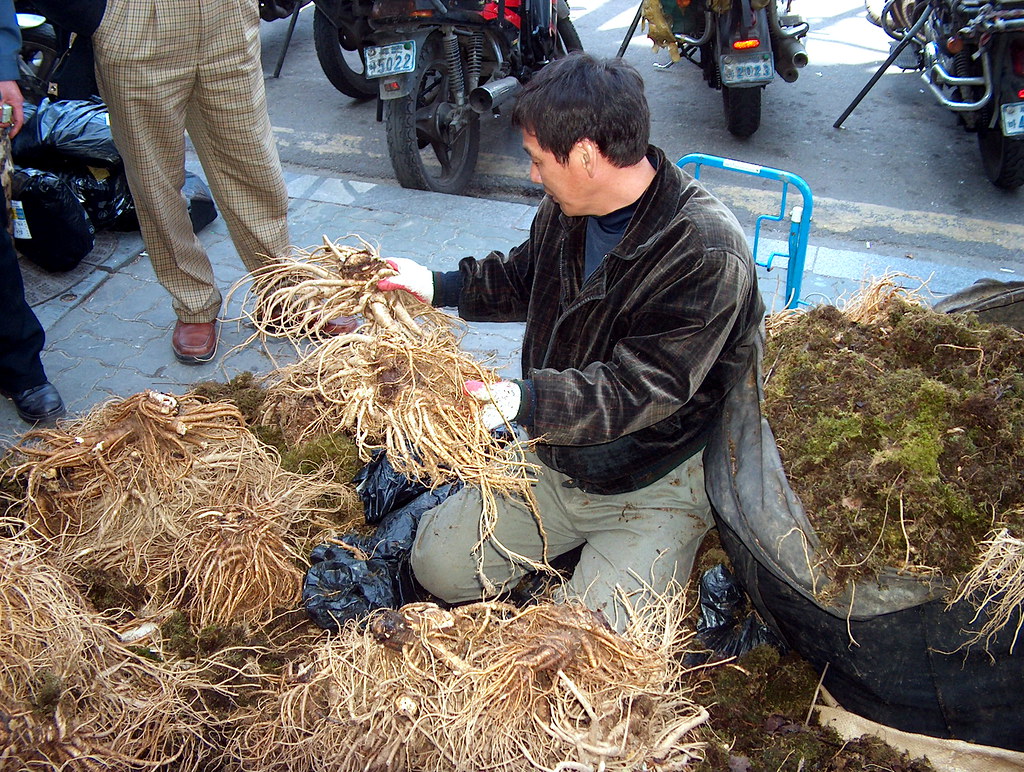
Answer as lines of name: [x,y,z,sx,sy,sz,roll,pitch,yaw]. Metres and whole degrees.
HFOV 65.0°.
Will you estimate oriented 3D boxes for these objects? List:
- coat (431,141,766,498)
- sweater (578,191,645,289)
coat: [0.386,-0.255,3.170,1.222,1.105,1.107,-6,49,-18]
sweater: [0.366,-0.526,2.858,0.200,0.254,0.148,-39,48,-19]
